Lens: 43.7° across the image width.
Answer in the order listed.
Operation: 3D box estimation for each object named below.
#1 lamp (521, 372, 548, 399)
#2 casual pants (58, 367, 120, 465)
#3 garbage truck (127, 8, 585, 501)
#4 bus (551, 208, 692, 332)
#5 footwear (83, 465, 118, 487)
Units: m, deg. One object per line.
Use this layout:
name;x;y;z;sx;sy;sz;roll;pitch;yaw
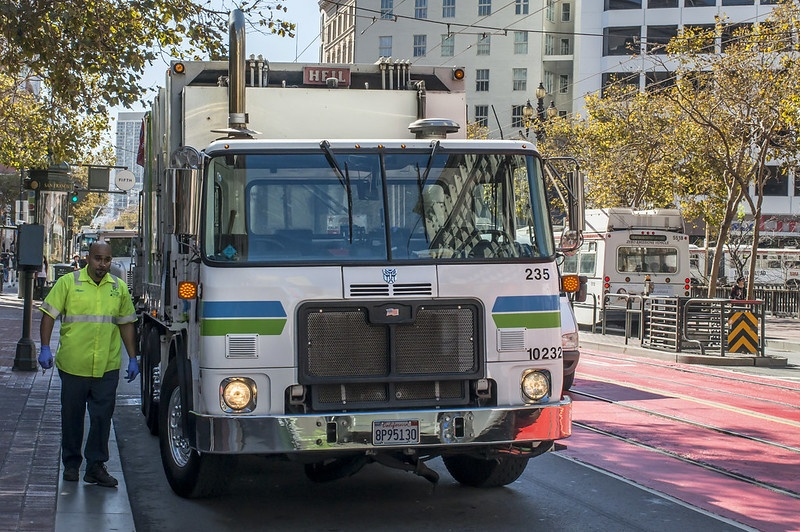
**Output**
lamp;1.413;1.236;10.331;0.288;0.277;0.082;2;-3;-17
casual pants;-3.516;1.729;11.237;0.652;1.149;0.333;-1;3;-2
garbage truck;-0.410;-0.291;11.181;4.571;5.659;2.910;-1;3;-10
bus;6.778;-0.097;33.886;3.223;3.487;8.020;0;-1;-12
footwear;-3.308;2.346;11.146;0.474;0.233;0.172;-1;-1;35
